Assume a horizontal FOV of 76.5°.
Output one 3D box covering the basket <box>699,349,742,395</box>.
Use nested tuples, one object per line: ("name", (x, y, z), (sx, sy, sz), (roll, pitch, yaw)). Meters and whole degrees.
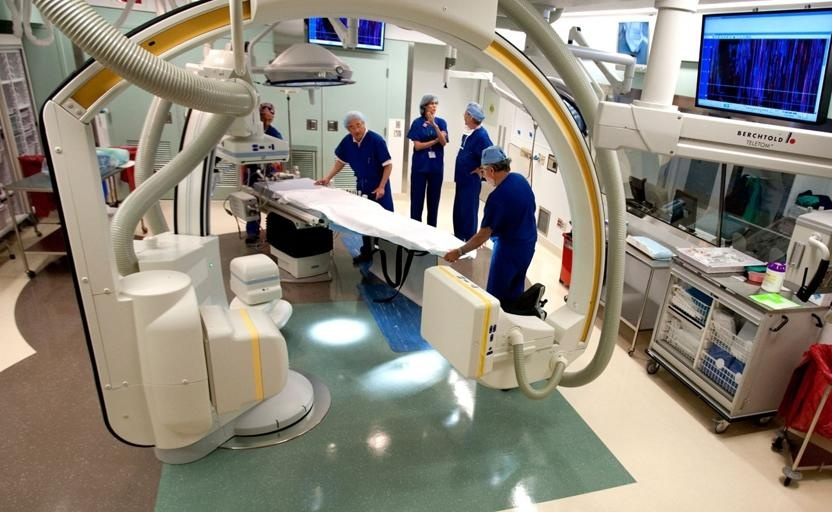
("basket", (2.645, 0.969, 4.551), (0.125, 0.244, 0.336), (-13, 22, -22))

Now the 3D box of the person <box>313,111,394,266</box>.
("person", (-0.711, -0.852, 6.597), (0.821, 1.809, 0.976), (-4, 24, -7))

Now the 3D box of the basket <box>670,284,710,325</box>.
("basket", (2.507, 0.445, 4.810), (0.167, 0.236, 0.382), (-4, 21, -31))

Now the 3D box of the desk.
("desk", (1.811, 0.348, 4.532), (0.385, 0.880, 1.010), (1, 25, -9))

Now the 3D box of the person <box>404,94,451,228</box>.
("person", (0.125, -1.227, 6.960), (0.493, 1.658, 0.611), (8, 25, 18))

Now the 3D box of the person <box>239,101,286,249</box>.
("person", (-1.884, -1.261, 6.745), (0.383, 1.175, 0.398), (4, 15, 28))

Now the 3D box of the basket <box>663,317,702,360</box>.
("basket", (2.463, 0.743, 4.858), (0.265, 0.116, 0.346), (23, 13, -37))

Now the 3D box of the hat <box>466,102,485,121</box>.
("hat", (0.716, -1.754, 6.496), (0.200, 0.224, 0.280), (1, 23, 5))

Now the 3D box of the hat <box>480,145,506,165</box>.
("hat", (0.714, -0.884, 4.726), (0.226, 0.170, 0.143), (11, 26, 25))

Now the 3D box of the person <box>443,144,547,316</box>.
("person", (0.819, -0.197, 4.697), (0.757, 1.423, 1.035), (-9, 25, -18))

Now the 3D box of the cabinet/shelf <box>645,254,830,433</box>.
("cabinet/shelf", (2.774, 0.754, 4.452), (0.834, 1.084, 1.147), (9, 17, -21))

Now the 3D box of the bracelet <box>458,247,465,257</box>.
("bracelet", (0.420, -0.029, 4.888), (0.062, 0.081, 0.041), (-6, 50, -17))

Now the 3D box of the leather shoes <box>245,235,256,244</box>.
("leather shoes", (-2.187, -0.211, 6.895), (0.161, 0.083, 0.106), (3, -4, -3))
